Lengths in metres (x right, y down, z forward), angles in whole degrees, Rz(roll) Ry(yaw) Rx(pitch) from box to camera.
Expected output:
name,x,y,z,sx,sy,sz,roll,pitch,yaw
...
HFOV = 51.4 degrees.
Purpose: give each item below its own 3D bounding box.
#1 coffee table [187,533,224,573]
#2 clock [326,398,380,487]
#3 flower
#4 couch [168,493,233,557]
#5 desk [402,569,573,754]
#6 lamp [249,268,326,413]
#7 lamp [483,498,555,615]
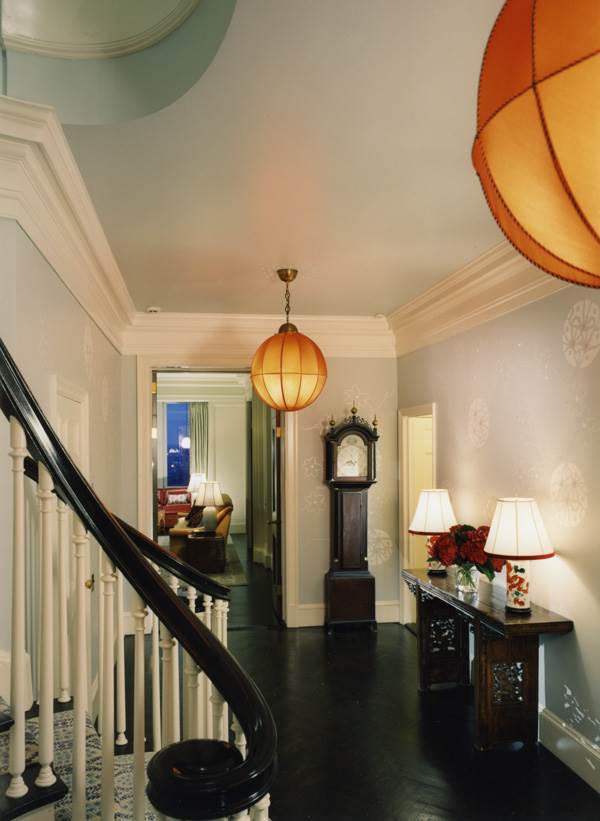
name,x,y,z,sx,sy,sz,roll,pitch,yaw
coffee table,-1.165,1.776,7.818,0.409,0.461,0.440,0,-3,4
clock,0.445,0.336,5.498,0.446,0.708,0.205,0,-4,5
flower,0.964,0.815,3.661,0.304,0.302,0.331,2,-4,4
couch,-1.316,1.747,8.489,0.581,0.810,1.089,0,-2,1
desk,1.051,1.427,3.644,0.410,0.746,1.230,1,-4,-9
lamp,-0.069,-0.458,4.130,0.467,0.933,0.814,0,-4,0
lamp,1.126,0.752,3.236,0.335,0.582,0.309,-1,-4,22
